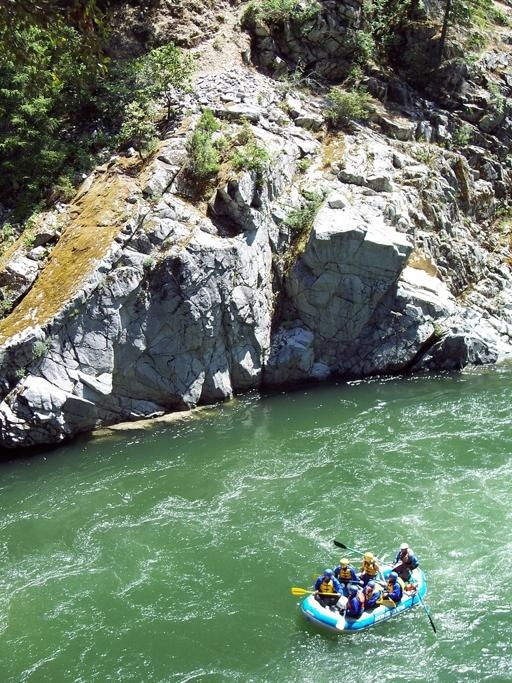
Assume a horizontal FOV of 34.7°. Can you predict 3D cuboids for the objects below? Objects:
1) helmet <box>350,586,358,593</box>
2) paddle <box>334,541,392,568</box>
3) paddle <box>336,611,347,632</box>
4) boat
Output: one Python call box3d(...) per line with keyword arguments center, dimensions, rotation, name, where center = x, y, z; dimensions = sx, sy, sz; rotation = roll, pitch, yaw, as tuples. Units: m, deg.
box3d(center=(2.331, 5.949, 19.591), dimensions=(0.211, 0.130, 0.193), rotation=(-2, 13, 2), name="helmet")
box3d(center=(2.775, 5.572, 21.247), dimensions=(1.760, 0.157, 0.094), rotation=(20, 12, 8), name="paddle")
box3d(center=(2.013, 6.665, 19.322), dimensions=(0.237, 0.293, 0.311), rotation=(-2, 13, 6), name="paddle")
box3d(center=(2.604, 6.152, 19.726), dimensions=(2.854, 0.861, 1.580), rotation=(-14, 44, -12), name="boat")
